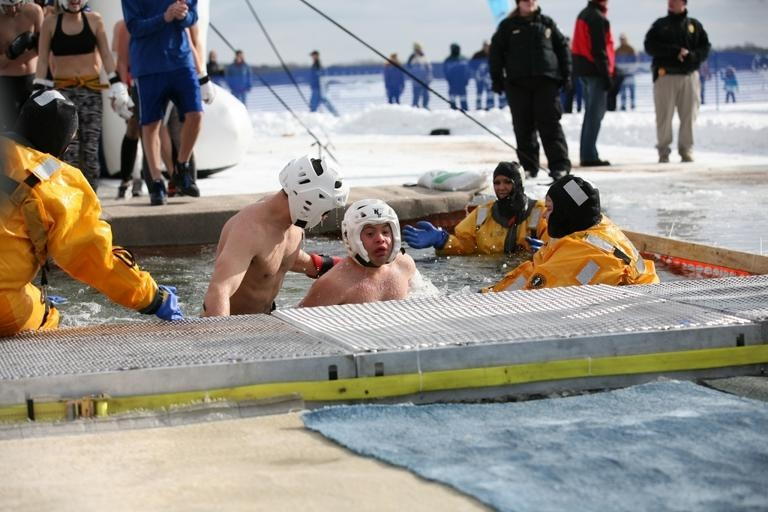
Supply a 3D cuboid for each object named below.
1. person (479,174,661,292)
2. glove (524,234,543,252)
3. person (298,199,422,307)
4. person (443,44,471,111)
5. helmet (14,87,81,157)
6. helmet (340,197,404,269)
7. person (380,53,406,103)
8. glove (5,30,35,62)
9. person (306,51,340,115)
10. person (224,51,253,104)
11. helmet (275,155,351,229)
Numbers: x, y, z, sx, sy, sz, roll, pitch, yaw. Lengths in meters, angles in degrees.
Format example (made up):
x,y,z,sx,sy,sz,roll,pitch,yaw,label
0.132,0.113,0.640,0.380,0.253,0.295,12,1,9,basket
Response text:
x,y,z,sx,sy,sz,roll,pitch,yaw,label
1.226,-0.167,6.914,1.086,0.668,0.748,-2,-2,10,person
1.167,-0.098,8.157,0.117,0.073,0.194,13,1,-1,glove
-0.183,0.001,7.076,0.789,0.468,0.371,-19,32,-37,person
1.503,-3.710,21.568,0.581,1.471,0.475,-7,32,-7,person
-1.895,-0.726,5.724,0.313,0.368,0.379,19,5,-16,helmet
-0.143,-0.162,6.668,0.364,0.398,0.445,-3,-5,-20,helmet
0.113,-4.298,24.137,0.617,0.467,1.653,-3,-33,-3,person
-3.334,-1.939,9.590,0.294,0.130,0.215,-33,-14,9,glove
-1.503,-4.001,24.433,0.649,1.379,2.190,-4,7,-3,person
-3.148,-3.781,22.446,0.522,0.938,1.511,-4,7,-6,person
-0.420,-0.406,6.336,0.463,0.423,0.344,-26,3,1,helmet
